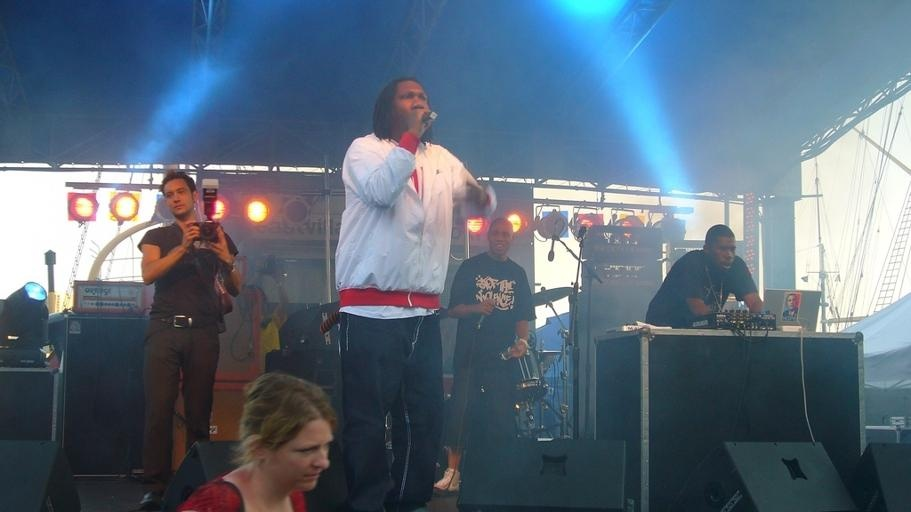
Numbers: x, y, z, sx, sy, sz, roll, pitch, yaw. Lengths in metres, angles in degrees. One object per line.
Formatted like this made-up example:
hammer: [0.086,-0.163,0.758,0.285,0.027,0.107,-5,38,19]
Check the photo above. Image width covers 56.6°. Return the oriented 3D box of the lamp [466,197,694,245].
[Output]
lamp: [2.051,-0.691,17.425,4.344,0.934,0.598,0,-4,27]

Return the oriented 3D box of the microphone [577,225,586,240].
microphone: [1.731,-0.301,11.690,0.149,0.190,0.101,5,17,-7]

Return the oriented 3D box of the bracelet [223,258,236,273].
bracelet: [-2.575,0.125,9.659,0.111,0.112,0.106,10,9,41]

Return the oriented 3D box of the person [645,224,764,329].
person: [2.837,0.398,10.889,1.044,1.621,1.552,8,-4,-29]

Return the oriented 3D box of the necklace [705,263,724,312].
necklace: [3.197,0.419,10.517,0.360,0.476,0.118,3,-4,-14]

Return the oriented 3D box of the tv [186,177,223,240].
tv: [-2.858,-0.519,9.836,0.279,0.724,0.264,2,4,-27]

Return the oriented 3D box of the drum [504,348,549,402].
drum: [0.964,1.669,11.519,0.556,0.655,0.701,-2,-19,-9]

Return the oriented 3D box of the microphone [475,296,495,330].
microphone: [0.332,0.751,10.750,0.124,0.355,0.257,23,-4,-6]
